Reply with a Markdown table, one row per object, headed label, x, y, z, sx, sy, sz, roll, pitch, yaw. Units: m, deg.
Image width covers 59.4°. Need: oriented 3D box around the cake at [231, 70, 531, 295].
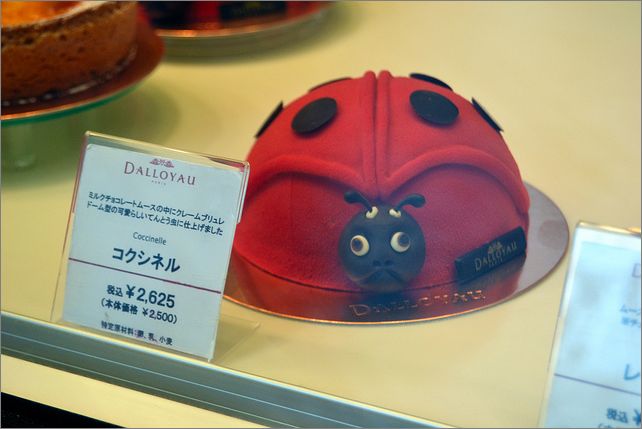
| label | x | y | z | sx | sy | sz | roll | pitch | yaw |
| --- | --- | --- | --- | --- | --- | --- | --- | --- | --- |
| cake | 0.118 | -0.052 | 0.987 | 0.518 | 0.387 | 0.199 | 8 | -16 | -4 |
